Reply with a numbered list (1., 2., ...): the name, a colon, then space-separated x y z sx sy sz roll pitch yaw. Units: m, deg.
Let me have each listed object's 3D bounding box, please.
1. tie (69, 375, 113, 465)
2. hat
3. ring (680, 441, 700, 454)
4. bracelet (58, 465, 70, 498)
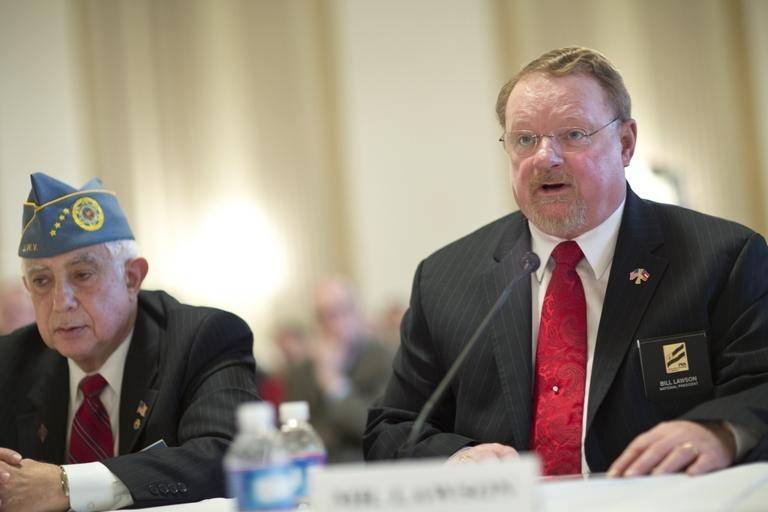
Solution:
1. tie: -1.166 0.640 3.119 0.174 0.316 0.199 -5 4 -6
2. hat: -1.250 -0.135 3.250 0.362 0.255 0.393 -12 -7 3
3. ring: 0.962 0.605 2.474 0.042 0.012 0.030 37 -14 -36
4. bracelet: -1.105 0.784 2.715 0.026 0.061 0.058 -6 4 -24
